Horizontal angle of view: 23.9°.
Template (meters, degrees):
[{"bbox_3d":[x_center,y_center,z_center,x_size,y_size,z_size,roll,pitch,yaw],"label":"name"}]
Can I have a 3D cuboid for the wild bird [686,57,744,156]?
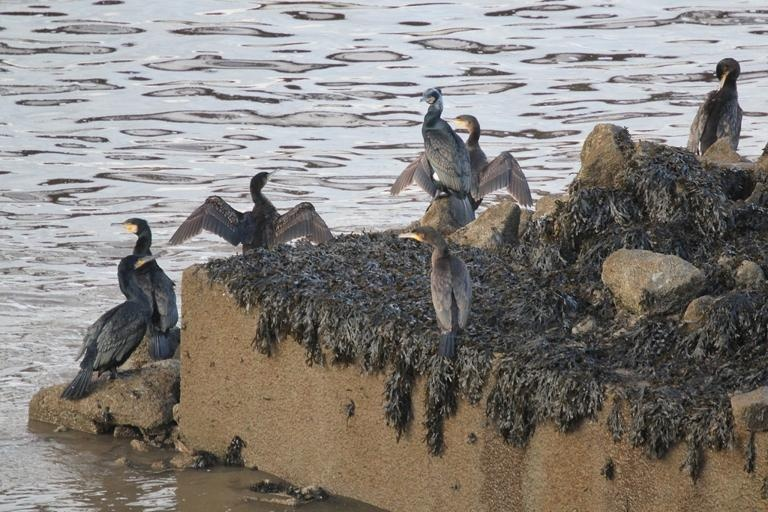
[{"bbox_3d":[6.078,-2.698,32.928,0.835,1.730,0.499,4,14,10],"label":"wild bird"}]
